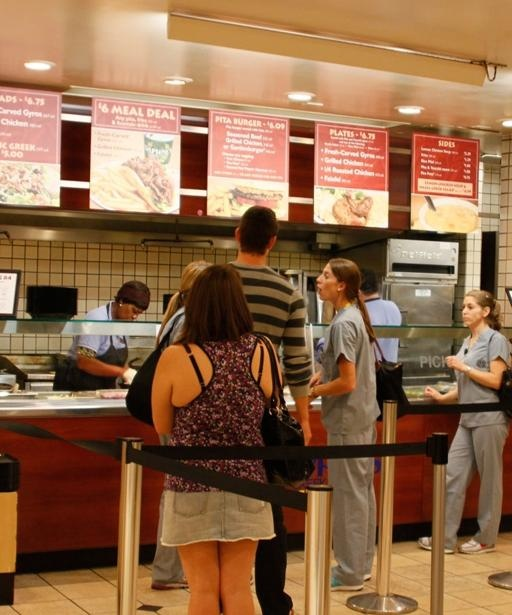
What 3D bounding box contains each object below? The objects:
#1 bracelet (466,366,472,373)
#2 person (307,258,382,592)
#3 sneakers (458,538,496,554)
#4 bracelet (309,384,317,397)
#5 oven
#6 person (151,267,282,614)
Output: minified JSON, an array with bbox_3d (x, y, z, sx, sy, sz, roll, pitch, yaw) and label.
[{"bbox_3d":[1.198,0.346,3.280,0.037,0.029,0.023,-13,33,-33],"label":"bracelet"},{"bbox_3d":[0.396,0.546,2.630,0.332,1.526,0.443,3,4,11],"label":"person"},{"bbox_3d":[1.246,1.349,3.310,0.204,0.077,0.074,3,-5,-11],"label":"sneakers"},{"bbox_3d":[0.252,0.363,2.565,0.028,0.063,0.051,10,5,5],"label":"bracelet"},{"bbox_3d":[1.461,0.100,6.091,0.867,1.445,0.904,1,0,-26],"label":"oven"},{"bbox_3d":[-0.104,0.325,1.422,0.316,0.858,0.295,2,4,-3],"label":"person"}]
